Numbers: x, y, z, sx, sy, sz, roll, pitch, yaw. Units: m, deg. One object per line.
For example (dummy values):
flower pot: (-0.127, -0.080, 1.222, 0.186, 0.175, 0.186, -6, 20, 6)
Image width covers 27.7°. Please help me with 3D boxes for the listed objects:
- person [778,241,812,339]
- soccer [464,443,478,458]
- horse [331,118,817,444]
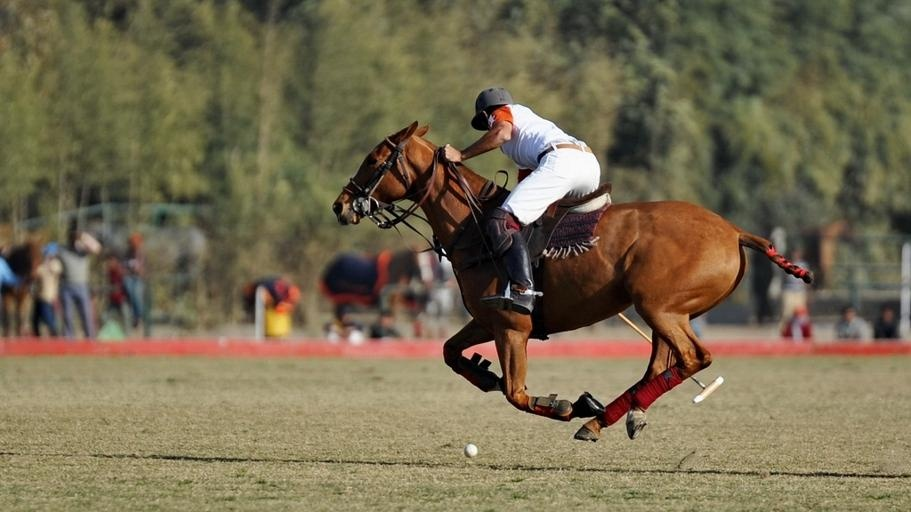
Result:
person: (8.451, 1.069, 45.781, 0.950, 2.872, 0.866, 1, -2, -43)
soccer: (0.289, 3.647, 35.063, 0.241, 0.243, 0.376, -3, -3, 13)
horse: (2.397, 0.770, 35.509, 9.671, 5.701, 2.193, 3, 1, 23)
